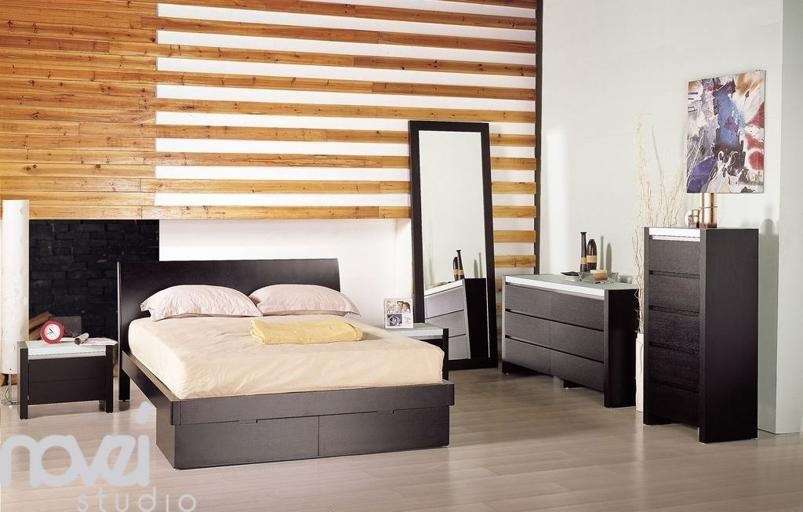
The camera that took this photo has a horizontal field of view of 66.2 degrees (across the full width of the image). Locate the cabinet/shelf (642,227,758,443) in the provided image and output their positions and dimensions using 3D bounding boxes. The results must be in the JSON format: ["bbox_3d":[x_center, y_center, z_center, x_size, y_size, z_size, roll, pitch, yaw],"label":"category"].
[{"bbox_3d":[2.307,0.439,4.812,0.447,1.122,0.679,-1,1,-16],"label":"cabinet/shelf"}]

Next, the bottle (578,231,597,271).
[{"bbox_3d":[1.867,-0.047,6.104,0.175,0.374,0.529,2,6,16],"label":"bottle"}]

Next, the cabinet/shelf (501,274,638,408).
[{"bbox_3d":[1.572,0.780,5.590,0.471,0.637,1.252,-1,2,-22],"label":"cabinet/shelf"}]

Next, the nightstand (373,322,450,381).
[{"bbox_3d":[0.144,0.878,5.746,0.595,0.462,0.563,0,-2,-8],"label":"nightstand"}]

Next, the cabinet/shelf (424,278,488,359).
[{"bbox_3d":[0.663,0.840,7.022,0.419,0.872,1.059,4,-14,-25],"label":"cabinet/shelf"}]

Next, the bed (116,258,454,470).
[{"bbox_3d":[-1.102,0.802,5.024,1.922,0.960,2.072,0,-2,-22],"label":"bed"}]
